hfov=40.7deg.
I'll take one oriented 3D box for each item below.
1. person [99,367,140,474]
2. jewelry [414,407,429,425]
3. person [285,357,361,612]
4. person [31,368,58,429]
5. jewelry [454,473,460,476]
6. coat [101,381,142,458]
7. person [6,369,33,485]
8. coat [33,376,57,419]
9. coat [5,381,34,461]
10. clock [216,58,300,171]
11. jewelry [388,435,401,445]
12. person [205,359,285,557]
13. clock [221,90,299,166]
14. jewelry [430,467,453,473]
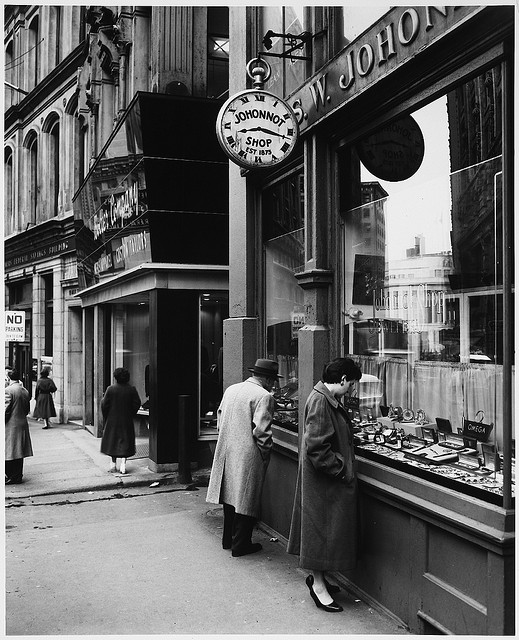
[{"bbox_3d":[-2.025,1.503,10.129,0.412,1.636,0.469,-2,-31,-7],"label":"person"},{"bbox_3d":[1.168,0.677,5.040,0.037,0.124,0.073,5,4,0],"label":"jewelry"},{"bbox_3d":[0.443,1.130,4.865,0.509,1.752,0.447,0,-3,8],"label":"person"},{"bbox_3d":[-5.158,1.857,16.891,0.463,1.371,0.978,2,-3,-28],"label":"person"},{"bbox_3d":[1.239,0.960,4.392,0.020,0.014,0.059,2,-4,-2],"label":"jewelry"},{"bbox_3d":[-2.025,1.290,10.141,0.423,1.461,0.428,-1,32,-17],"label":"coat"},{"bbox_3d":[-3.304,1.522,9.565,0.352,1.329,0.434,2,-3,-24],"label":"person"},{"bbox_3d":[-5.213,1.789,16.897,0.480,1.252,0.481,4,36,-17],"label":"coat"},{"bbox_3d":[-3.364,1.354,9.586,0.391,1.042,0.561,-1,-4,32],"label":"coat"},{"bbox_3d":[-0.002,-1.803,6.267,0.664,1.458,0.172,2,-33,-1],"label":"clock"},{"bbox_3d":[1.000,0.878,5.184,0.027,0.074,0.125,2,-4,-29],"label":"jewelry"},{"bbox_3d":[-0.157,1.179,6.072,0.597,1.691,0.381,0,-3,23],"label":"person"},{"bbox_3d":[-0.013,-1.697,6.216,0.471,0.795,0.624,5,-8,-2],"label":"clock"},{"bbox_3d":[1.174,0.961,4.523,0.058,0.037,0.159,5,-5,-44],"label":"jewelry"}]
